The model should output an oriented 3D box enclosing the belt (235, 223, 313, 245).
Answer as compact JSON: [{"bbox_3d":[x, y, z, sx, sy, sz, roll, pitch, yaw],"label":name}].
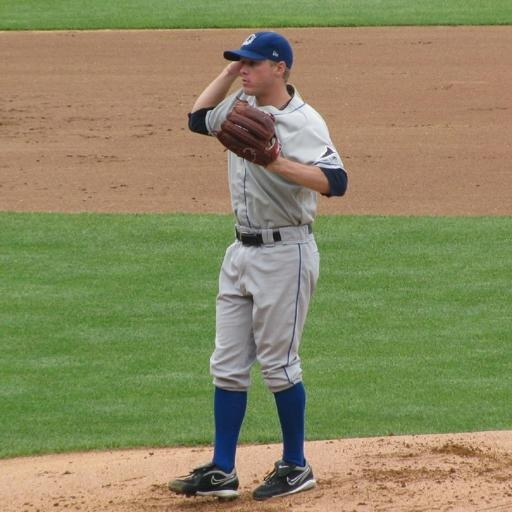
[{"bbox_3d":[0.169,-0.201,14.021,0.744,0.221,0.186,1,9,0],"label":"belt"}]

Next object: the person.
[{"bbox_3d":[0.068,0.081,14.045,1.412,4.500,1.085,1,8,3],"label":"person"}]

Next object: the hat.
[{"bbox_3d":[0.045,-2.051,14.138,0.680,0.406,0.515,-1,8,-25],"label":"hat"}]

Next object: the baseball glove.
[{"bbox_3d":[-0.008,-1.195,13.886,0.710,0.314,0.541,18,50,5],"label":"baseball glove"}]
